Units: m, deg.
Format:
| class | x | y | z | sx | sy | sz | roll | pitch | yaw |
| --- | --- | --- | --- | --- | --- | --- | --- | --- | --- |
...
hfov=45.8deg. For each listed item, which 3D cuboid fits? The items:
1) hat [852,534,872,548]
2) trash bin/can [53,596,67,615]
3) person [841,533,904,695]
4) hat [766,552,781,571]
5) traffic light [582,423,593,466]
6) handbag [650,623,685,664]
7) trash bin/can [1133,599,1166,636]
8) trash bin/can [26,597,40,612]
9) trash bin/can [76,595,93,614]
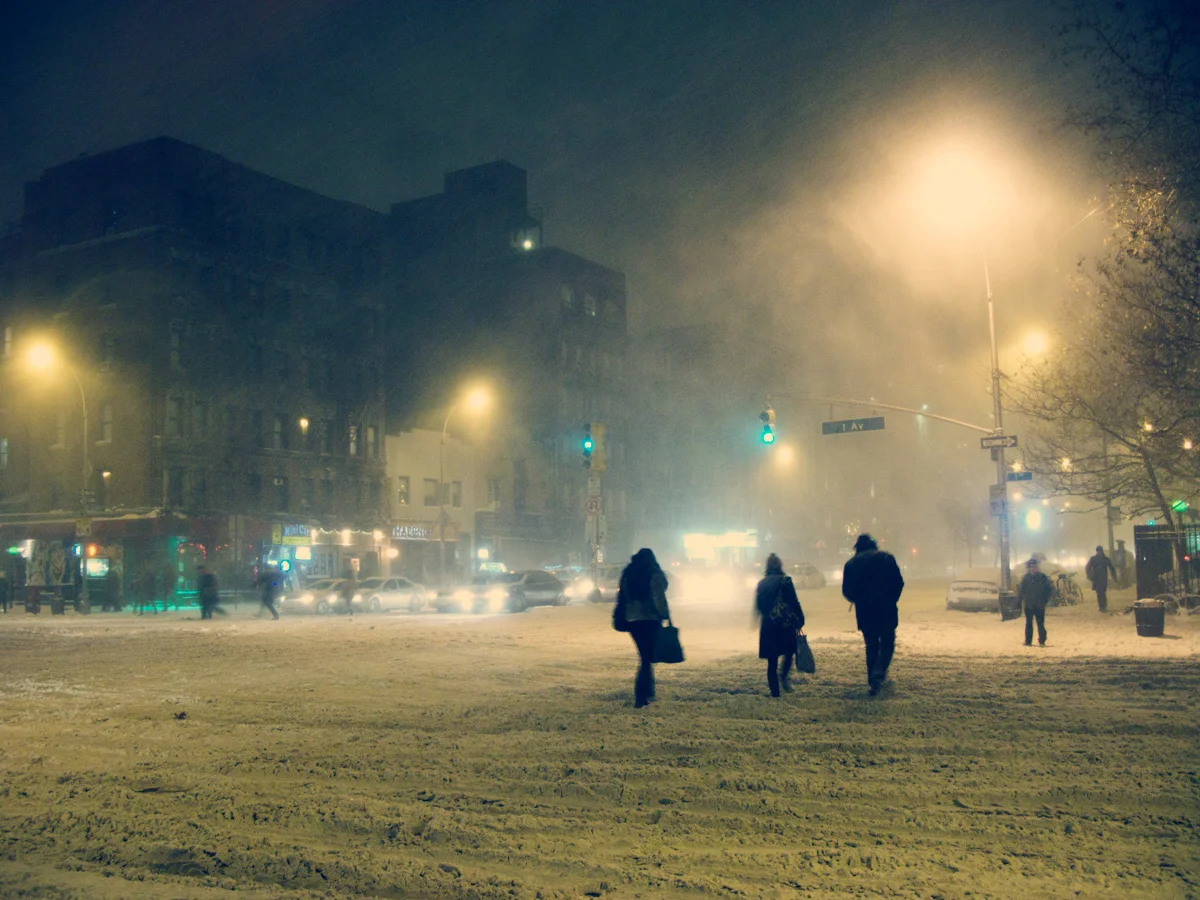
| class | x | y | z | sx | sy | sz | roll | pitch | yaw |
| --- | --- | --- | --- | --- | --- | --- | --- | --- | --- |
| hat | 4.451 | 1.534 | 23.744 | 0.320 | 0.235 | 0.419 | 8 | 1 | 13 |
| trash bin/can | -19.432 | 5.514 | 50.387 | 0.535 | 0.623 | 0.559 | -4 | -10 | -2 |
| person | 4.624 | 2.707 | 23.835 | 0.909 | 2.666 | 1.565 | 1 | 5 | 12 |
| hat | 2.937 | 1.835 | 23.832 | 0.224 | 0.324 | 0.195 | -5 | -12 | 11 |
| traffic light | -0.394 | -0.183 | 48.910 | 0.404 | 1.395 | 0.796 | 0 | 5 | 0 |
| handbag | 1.162 | 3.192 | 23.136 | 0.523 | 0.668 | 0.692 | -3 | -8 | 16 |
| trash bin/can | 12.688 | 3.826 | 32.274 | 0.739 | 0.765 | 0.776 | 0 | -9 | 5 |
| trash bin/can | -20.505 | 5.558 | 50.967 | 0.528 | 0.515 | 0.336 | 1 | 5 | 5 |
| trash bin/can | -18.657 | 5.411 | 50.763 | 0.268 | 0.701 | 1.196 | -4 | 6 | -35 |
